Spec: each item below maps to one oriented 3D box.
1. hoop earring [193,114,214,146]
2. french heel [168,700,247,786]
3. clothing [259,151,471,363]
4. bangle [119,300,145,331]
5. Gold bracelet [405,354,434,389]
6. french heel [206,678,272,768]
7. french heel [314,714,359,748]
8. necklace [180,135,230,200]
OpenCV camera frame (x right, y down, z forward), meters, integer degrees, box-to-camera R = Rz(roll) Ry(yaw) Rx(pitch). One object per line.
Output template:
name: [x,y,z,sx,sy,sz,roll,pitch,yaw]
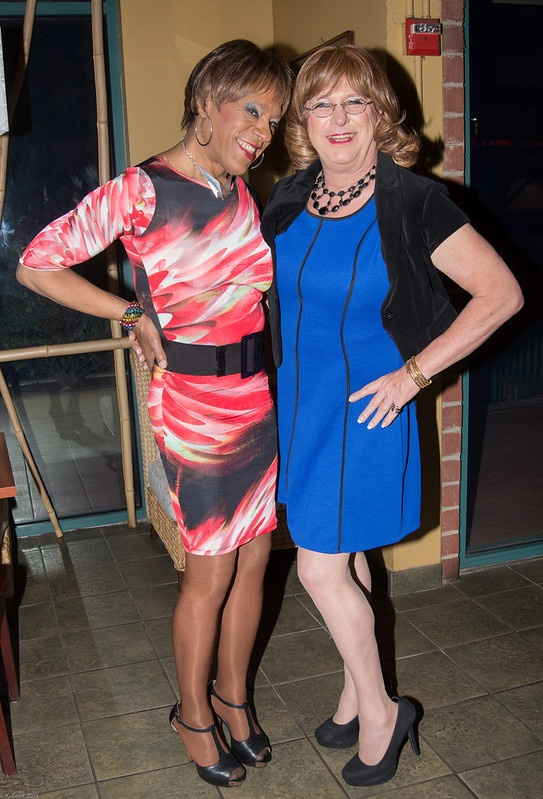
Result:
hoop earring: [-0.144,-0.566,1.365,0.046,0.064,0.014,5,11,42]
french heel: [-0.170,0.819,1.638,0.099,0.108,0.264,-14,39,-43]
clothing: [0.174,-0.275,1.304,0.463,0.392,0.255,13,46,38]
bangle: [-0.317,-0.185,1.431,0.019,0.063,0.047,33,14,11]
Gold bracelet: [0.282,-0.056,1.291,0.029,0.053,0.059,-29,16,8]
french heel: [-0.087,0.803,1.707,0.091,0.110,0.260,-10,37,-37]
french heel: [0.174,0.858,1.698,0.122,0.043,0.069,-7,12,-27]
necklace: [-0.134,-0.483,1.407,0.047,0.170,0.024,-40,12,-27]
